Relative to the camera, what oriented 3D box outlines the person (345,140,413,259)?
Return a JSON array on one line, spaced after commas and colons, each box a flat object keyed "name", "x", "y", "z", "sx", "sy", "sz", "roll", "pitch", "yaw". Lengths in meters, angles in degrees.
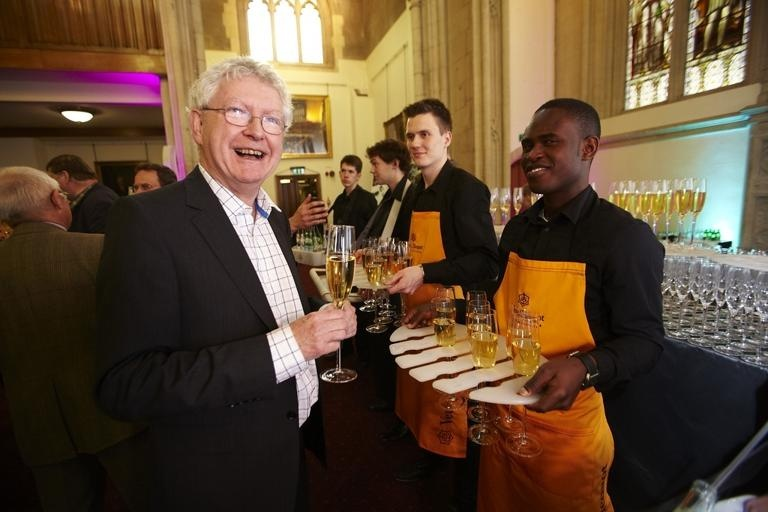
[{"name": "person", "x": 0.092, "y": -0.527, "z": 4.583, "sx": 0.577, "sy": 1.116, "sz": 0.765, "roll": 2, "pitch": 0, "yaw": -22}]
